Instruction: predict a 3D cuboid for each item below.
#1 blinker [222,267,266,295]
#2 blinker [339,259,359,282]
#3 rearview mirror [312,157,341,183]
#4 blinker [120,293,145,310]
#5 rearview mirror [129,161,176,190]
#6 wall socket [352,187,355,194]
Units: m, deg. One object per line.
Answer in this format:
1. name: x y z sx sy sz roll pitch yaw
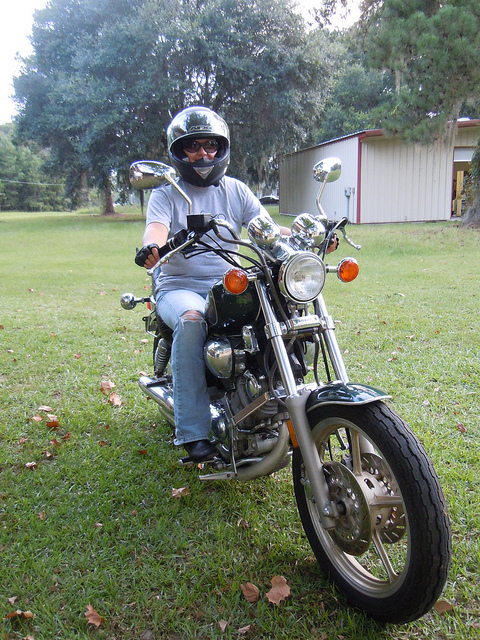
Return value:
1. blinker: 0.022 -0.153 2.021 0.167 0.122 0.196 -2 13 0
2. blinker: 0.470 -0.217 2.187 0.078 0.091 0.170 1 13 11
3. rearview mirror: 0.434 -0.757 2.546 0.128 0.122 0.212 1 13 10
4. blinker: -0.775 -0.130 3.607 0.150 0.111 0.111 2 -13 16
5. rearview mirror: -0.351 -0.595 2.071 0.185 0.141 0.066 4 15 -3
6. wall socket: 4.361 -4.967 19.443 0.073 0.236 0.129 1 13 11
